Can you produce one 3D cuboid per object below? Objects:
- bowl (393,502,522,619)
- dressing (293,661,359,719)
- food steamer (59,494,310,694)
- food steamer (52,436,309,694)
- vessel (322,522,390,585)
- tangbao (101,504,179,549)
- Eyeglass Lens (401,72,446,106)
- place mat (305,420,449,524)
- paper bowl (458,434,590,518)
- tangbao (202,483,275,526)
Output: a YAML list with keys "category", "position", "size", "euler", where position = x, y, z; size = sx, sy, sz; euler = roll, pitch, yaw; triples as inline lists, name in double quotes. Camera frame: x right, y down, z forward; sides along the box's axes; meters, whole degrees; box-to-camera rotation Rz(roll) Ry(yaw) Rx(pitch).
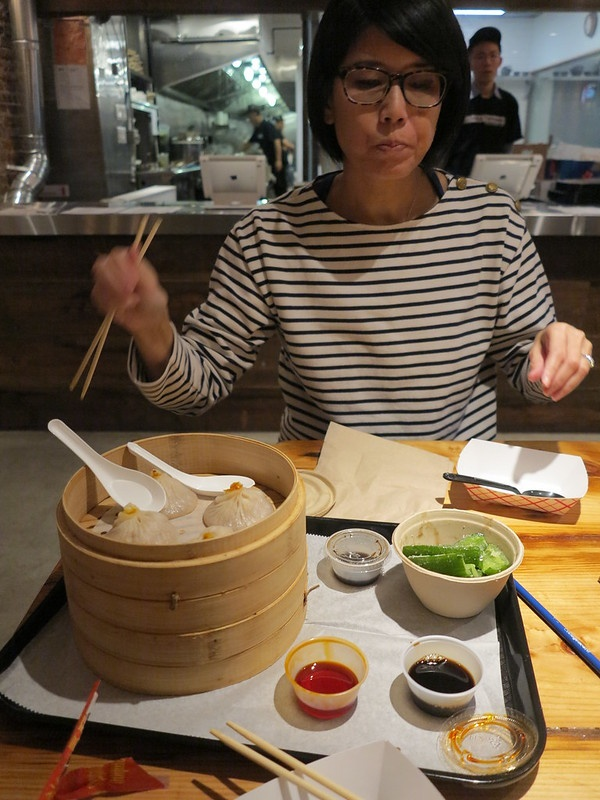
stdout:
- category: "bowl"
  position: [0.196, 0.212, 0.956]
  size: [0.160, 0.067, 0.152]
  euler: [-3, 29, 2]
- category: "dressing"
  position: [0.029, 0.309, 0.788]
  size: [0.069, 0.041, 0.090]
  euler: [-1, 20, -1]
- category: "food steamer"
  position: [-0.119, 0.240, 0.841]
  size: [0.246, 0.129, 0.221]
  euler: [4, 25, 10]
- category: "food steamer"
  position: [-0.136, 0.210, 0.909]
  size: [0.324, 0.180, 0.305]
  euler: [0, 21, 0]
- category: "vessel"
  position: [0.085, 0.221, 1.030]
  size: [0.077, 0.030, 0.070]
  euler: [1, 29, 1]
- category: "tangbao"
  position: [-0.185, 0.150, 0.839]
  size: [0.063, 0.030, 0.057]
  euler: [3, 5, 9]
- category: "Eyeglass Lens"
  position: [0.222, -0.565, 1.286]
  size: [0.079, 0.024, 0.069]
  euler: [-5, 49, -15]
- category: "place mat"
  position: [0.129, 0.107, 1.228]
  size: [0.179, 0.046, 0.154]
  euler: [6, 40, 11]
- category: "paper bowl"
  position: [0.399, 0.133, 1.269]
  size: [0.192, 0.051, 0.126]
  euler: [10, 37, 18]
- category: "tangbao"
  position: [-0.088, 0.118, 0.905]
  size: [0.074, 0.036, 0.066]
  euler: [-4, 14, -1]
